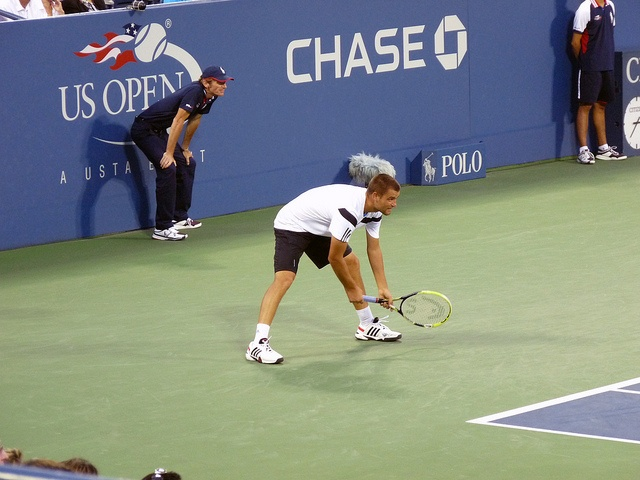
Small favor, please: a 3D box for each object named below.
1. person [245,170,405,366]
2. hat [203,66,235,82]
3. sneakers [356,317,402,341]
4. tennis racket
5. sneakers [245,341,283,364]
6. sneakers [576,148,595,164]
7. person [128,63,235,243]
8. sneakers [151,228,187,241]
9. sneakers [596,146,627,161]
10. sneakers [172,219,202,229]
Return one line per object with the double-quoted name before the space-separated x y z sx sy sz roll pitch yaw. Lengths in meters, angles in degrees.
"person" 0.030 0.162 6.419 1.555 1.648 0.936 -3 16 -23
"hat" -1.359 -2.185 9.685 0.368 0.144 0.243 4 18 3
"sneakers" 0.524 0.825 6.683 0.449 0.221 0.165 1 1 2
"tennis racket" 0.837 0.594 6.325 0.869 0.318 0.064 8 23 24
"sneakers" -0.478 0.952 6.144 0.358 0.177 0.143 5 6 39
"sneakers" 4.971 -1.533 13.581 0.166 0.178 0.386 -2 6 -1
"person" -1.920 -1.126 9.884 1.197 2.281 0.792 -1 5 37
"sneakers" -2.052 -0.062 9.905 0.430 0.198 0.173 1 9 4
"sneakers" 5.505 -1.623 13.828 0.617 0.278 0.233 1 10 -1
"sneakers" -1.907 -0.212 10.451 0.353 0.160 0.139 -5 14 -22
